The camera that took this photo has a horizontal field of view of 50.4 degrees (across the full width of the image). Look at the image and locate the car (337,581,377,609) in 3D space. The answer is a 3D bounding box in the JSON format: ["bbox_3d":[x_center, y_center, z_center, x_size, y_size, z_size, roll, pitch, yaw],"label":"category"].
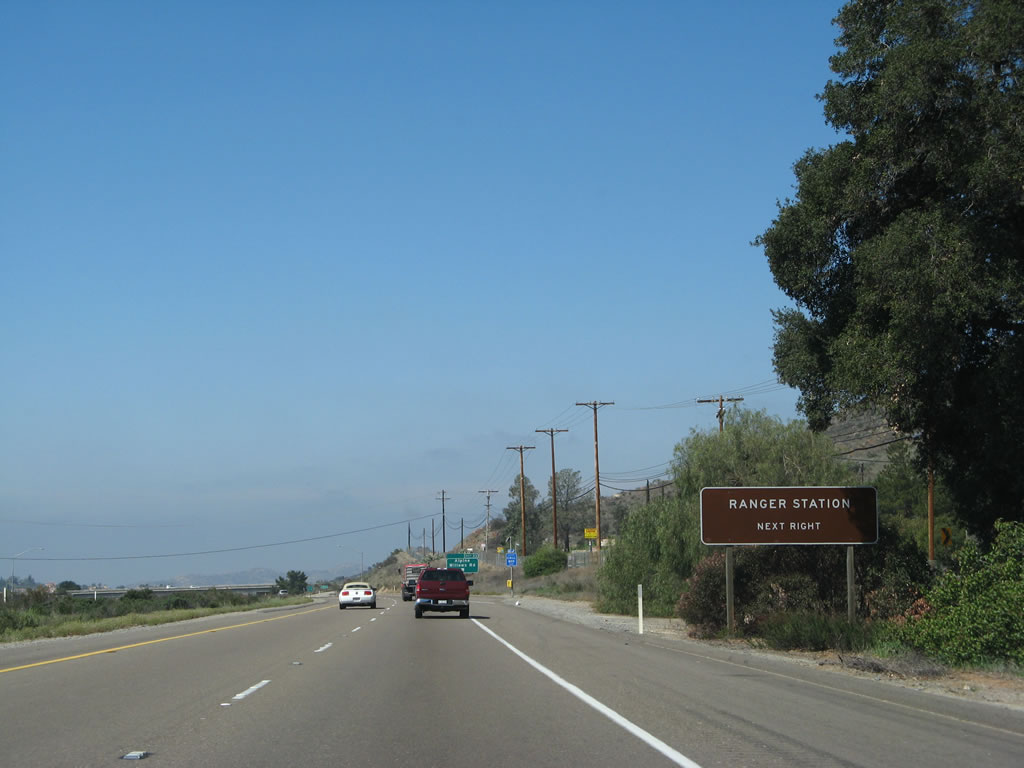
[{"bbox_3d":[-8.790,12.316,62.410,1.154,1.049,2.874,0,-2,-3],"label":"car"}]
